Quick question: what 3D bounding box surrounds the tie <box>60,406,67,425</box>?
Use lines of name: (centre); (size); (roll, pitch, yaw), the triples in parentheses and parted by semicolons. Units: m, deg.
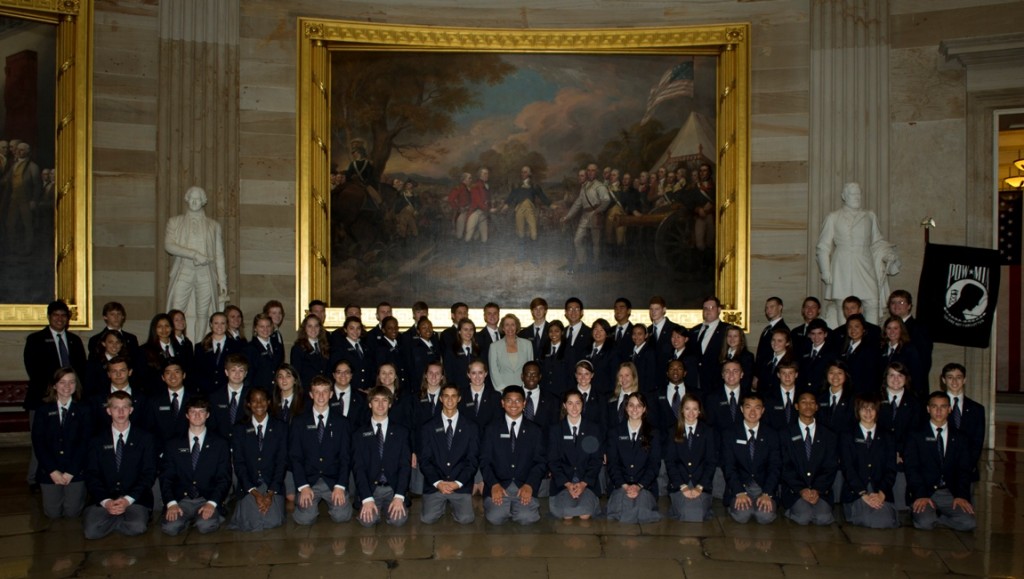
tie: (-7.572, 2.076, 20.871); (0.155, 0.224, 0.058); (2, -5, -4)

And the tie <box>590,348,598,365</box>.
tie: (1.481, 1.205, 22.655); (0.150, 0.216, 0.057); (6, -9, 6)

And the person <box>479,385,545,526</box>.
person: (0.001, 2.719, 20.705); (1.082, 2.223, 0.641); (1, 1, 0)

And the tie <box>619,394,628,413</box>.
tie: (1.915, 1.940, 21.499); (0.200, 0.255, 0.090); (-20, -42, 41)

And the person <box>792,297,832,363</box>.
person: (5.457, 0.861, 22.880); (0.773, 1.505, 0.469); (6, -7, 5)

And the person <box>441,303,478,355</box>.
person: (-0.991, 0.909, 23.433); (0.737, 1.381, 0.498); (-2, -13, -10)

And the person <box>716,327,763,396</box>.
person: (3.971, 1.411, 22.459); (0.745, 1.473, 0.570); (5, -7, 20)

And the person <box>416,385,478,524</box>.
person: (-1.070, 2.701, 20.736); (1.016, 2.259, 0.681); (1, 1, -3)

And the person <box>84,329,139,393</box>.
person: (-7.192, 1.237, 22.006); (0.984, 1.107, 0.399); (5, 4, -4)

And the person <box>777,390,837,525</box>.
person: (4.939, 2.761, 20.620); (0.939, 2.122, 0.616); (1, 1, 12)

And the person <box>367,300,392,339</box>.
person: (-2.578, 0.590, 23.894); (0.656, 0.784, 0.449); (6, -11, -2)

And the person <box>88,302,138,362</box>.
person: (-7.158, 0.894, 22.253); (0.967, 1.397, 0.552); (1, -22, -33)

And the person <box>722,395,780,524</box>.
person: (3.977, 2.791, 20.664); (0.958, 2.047, 0.572); (1, 1, 9)

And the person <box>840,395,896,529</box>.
person: (5.899, 2.850, 20.486); (0.849, 2.025, 0.487); (1, 1, 12)

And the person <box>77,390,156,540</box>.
person: (-6.421, 3.075, 20.276); (1.132, 1.826, 0.585); (1, 1, -15)

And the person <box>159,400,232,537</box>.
person: (-5.208, 2.855, 20.343); (1.106, 2.139, 0.592); (1, 1, -14)

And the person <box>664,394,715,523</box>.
person: (3.012, 2.765, 20.691); (0.845, 2.069, 0.555); (1, 1, -6)

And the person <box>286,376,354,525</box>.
person: (-3.201, 2.625, 20.684); (1.048, 2.385, 0.644); (1, 1, -8)

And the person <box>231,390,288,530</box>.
person: (-4.181, 2.757, 20.506); (0.903, 2.264, 0.738); (1, 1, -11)

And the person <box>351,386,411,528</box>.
person: (-2.190, 2.712, 20.633); (0.957, 2.245, 0.633); (1, 1, -6)

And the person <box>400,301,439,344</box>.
person: (-1.844, 0.651, 24.008); (0.785, 0.638, 0.384); (5, -20, -10)

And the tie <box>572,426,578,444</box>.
tie: (1.042, 2.441, 20.882); (0.085, 0.264, 0.041); (-2, -13, 10)

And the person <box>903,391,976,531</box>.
person: (7.061, 2.789, 20.460); (1.103, 2.196, 0.645); (1, 1, 15)
